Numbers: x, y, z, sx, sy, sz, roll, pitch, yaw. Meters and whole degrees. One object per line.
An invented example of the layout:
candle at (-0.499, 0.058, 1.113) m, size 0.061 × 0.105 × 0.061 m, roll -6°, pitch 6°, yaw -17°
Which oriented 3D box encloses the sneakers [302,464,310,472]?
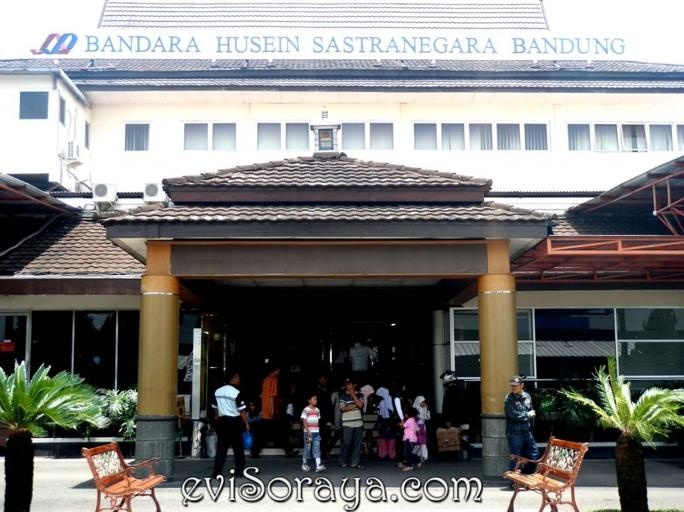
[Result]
sneakers at (-0.963, 5.441, 22.843) m, size 0.240 × 0.188 × 0.126 m, roll 0°, pitch 1°, yaw -6°

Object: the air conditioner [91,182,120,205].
air conditioner at (-7.546, -1.969, 28.008) m, size 0.731 × 0.562 × 0.703 m, roll 1°, pitch -4°, yaw -4°

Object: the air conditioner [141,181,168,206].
air conditioner at (-5.920, -1.992, 27.814) m, size 0.643 × 0.770 × 0.513 m, roll 5°, pitch -12°, yaw -23°
